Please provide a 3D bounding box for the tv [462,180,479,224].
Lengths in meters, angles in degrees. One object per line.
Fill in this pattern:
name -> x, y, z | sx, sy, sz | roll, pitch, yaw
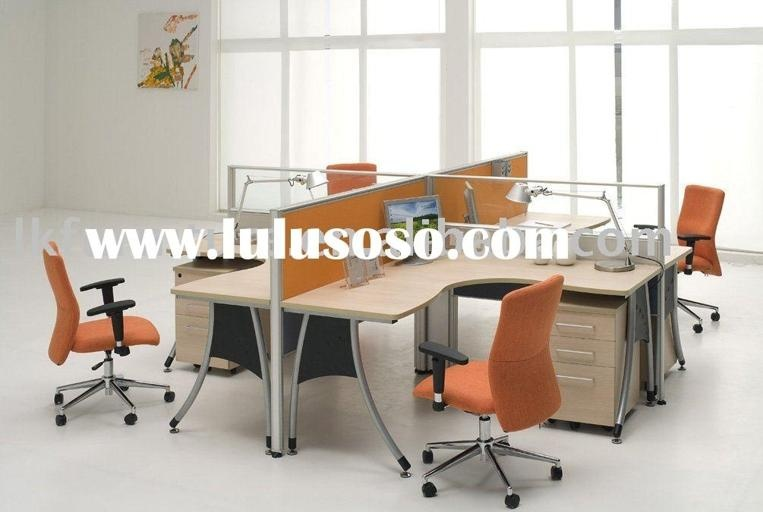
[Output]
tv -> 0.769, -0.456, 6.030 | 0.140, 0.367, 0.415 | 1, 7, 8

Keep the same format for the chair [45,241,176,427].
chair -> -2.025, 0.451, 5.406 | 1.146, 1.570, 1.204 | -2, 10, -19

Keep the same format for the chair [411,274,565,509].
chair -> 0.655, 0.856, 4.299 | 0.927, 1.351, 1.023 | 7, 12, 36
